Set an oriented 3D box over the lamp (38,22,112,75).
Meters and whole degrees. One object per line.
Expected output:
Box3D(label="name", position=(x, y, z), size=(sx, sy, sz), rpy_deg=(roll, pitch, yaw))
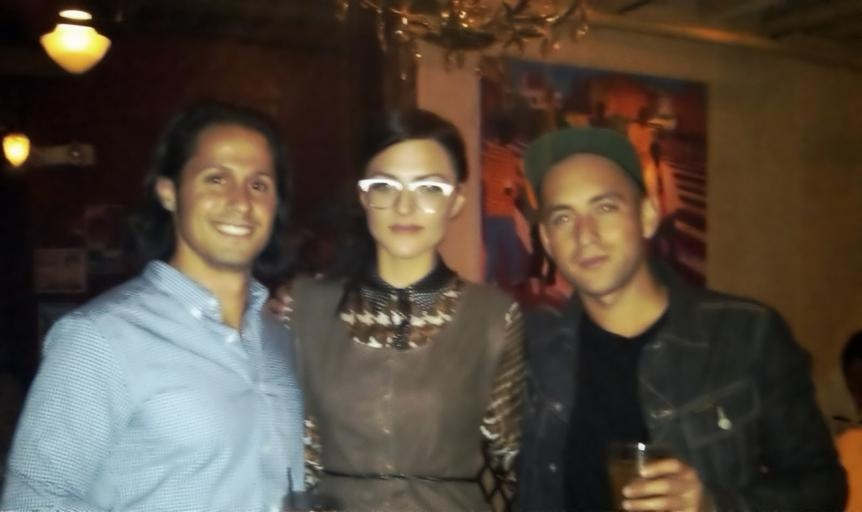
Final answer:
Box3D(label="lamp", position=(-2.022, -1.164, 4.853), size=(0.357, 0.237, 0.204), rpy_deg=(6, -6, -21))
